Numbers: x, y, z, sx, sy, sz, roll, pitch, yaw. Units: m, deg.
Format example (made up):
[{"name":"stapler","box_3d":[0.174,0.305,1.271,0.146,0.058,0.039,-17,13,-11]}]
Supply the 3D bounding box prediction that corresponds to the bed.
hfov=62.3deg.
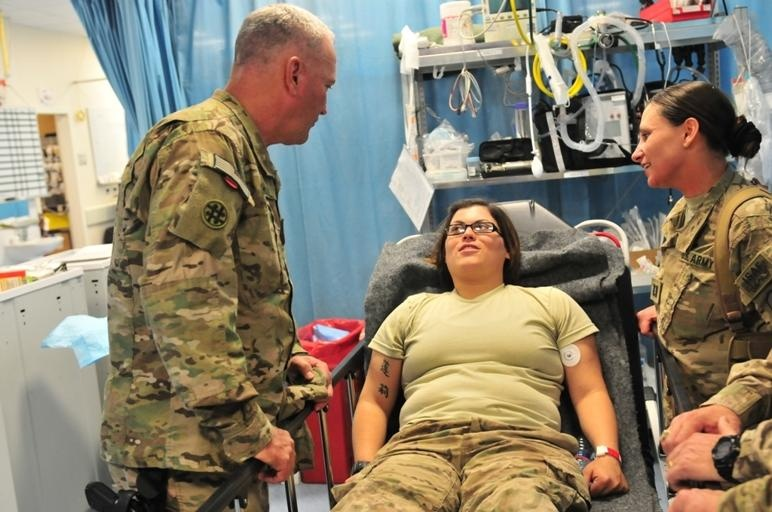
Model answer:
[{"name":"bed","box_3d":[0.600,0.211,3.436,1.273,1.331,2.134,-1,3,21]}]

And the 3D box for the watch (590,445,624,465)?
[{"name":"watch","box_3d":[0.889,0.782,2.549,0.098,0.068,0.102,27,-29,-24]}]
